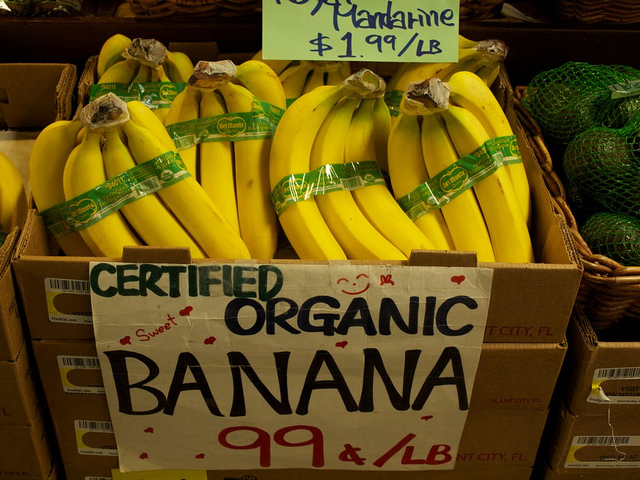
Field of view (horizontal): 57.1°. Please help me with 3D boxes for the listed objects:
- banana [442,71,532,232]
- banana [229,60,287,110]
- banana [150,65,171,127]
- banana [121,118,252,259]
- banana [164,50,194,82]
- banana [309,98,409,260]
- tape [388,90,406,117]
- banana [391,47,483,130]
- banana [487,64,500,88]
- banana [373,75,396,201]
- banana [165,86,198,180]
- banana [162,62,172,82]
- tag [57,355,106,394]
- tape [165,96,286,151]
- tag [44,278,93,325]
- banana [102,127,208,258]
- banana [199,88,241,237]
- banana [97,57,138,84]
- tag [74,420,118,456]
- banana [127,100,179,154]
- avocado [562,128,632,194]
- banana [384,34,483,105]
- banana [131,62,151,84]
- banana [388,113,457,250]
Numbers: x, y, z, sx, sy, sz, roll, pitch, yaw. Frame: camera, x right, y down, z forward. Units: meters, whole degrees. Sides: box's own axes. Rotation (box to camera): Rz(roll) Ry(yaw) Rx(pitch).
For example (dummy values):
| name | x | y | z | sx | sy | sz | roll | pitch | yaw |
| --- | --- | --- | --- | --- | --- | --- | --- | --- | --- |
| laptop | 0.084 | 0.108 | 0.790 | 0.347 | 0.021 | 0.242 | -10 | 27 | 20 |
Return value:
| name | x | y | z | sx | sy | sz | roll | pitch | yaw |
| --- | --- | --- | --- | --- | --- | --- | --- | --- | --- |
| banana | 0.404 | -0.210 | 1.473 | 0.114 | 0.424 | 0.138 | -26 | 1 | 16 |
| banana | -0.164 | -0.403 | 1.547 | 0.105 | 0.169 | 0.044 | -4 | -5 | -9 |
| banana | -0.437 | -0.403 | 1.642 | 0.048 | 0.194 | 0.068 | -3 | 2 | 11 |
| banana | -0.313 | -0.115 | 1.407 | 0.083 | 0.343 | 0.111 | -34 | 7 | 8 |
| banana | -0.398 | -0.500 | 1.693 | 0.078 | 0.085 | 0.084 | -3 | 23 | -11 |
| banana | 0.087 | -0.140 | 1.438 | 0.141 | 0.407 | 0.083 | -31 | -13 | 25 |
| tape | 0.214 | -0.377 | 1.654 | 0.016 | 0.066 | 0.065 | 12 | -5 | -32 |
| banana | 0.429 | -0.455 | 1.875 | 0.115 | 0.166 | 0.478 | -24 | 7 | 6 |
| banana | 0.481 | -0.460 | 1.657 | 0.016 | 0.061 | 0.021 | 9 | 23 | -18 |
| banana | 0.160 | -0.262 | 1.526 | 0.062 | 0.308 | 0.102 | -9 | 19 | -10 |
| banana | -0.334 | -0.258 | 1.518 | 0.070 | 0.267 | 0.086 | -2 | 13 | -4 |
| banana | -0.435 | -0.488 | 1.706 | 0.010 | 0.047 | 0.015 | -30 | 33 | -34 |
| tag | -0.548 | 0.308 | 1.333 | 0.098 | 0.095 | 0.023 | 1 | 11 | 2 |
| tape | -0.243 | -0.290 | 1.524 | 0.180 | 0.058 | 0.180 | -29 | 15 | -11 |
| tag | -0.539 | 0.127 | 1.283 | 0.106 | 0.109 | 0.005 | 3 | 30 | 2 |
| banana | -0.386 | -0.101 | 1.368 | 0.069 | 0.312 | 0.103 | -34 | 0 | 42 |
| banana | -0.246 | -0.183 | 1.530 | 0.081 | 0.410 | 0.109 | -8 | 0 | 3 |
| banana | -0.549 | -0.472 | 1.638 | 0.111 | 0.073 | 0.056 | 6 | 23 | 9 |
| tag | -0.528 | 0.470 | 1.418 | 0.105 | 0.076 | 0.004 | 3 | 26 | 6 |
| banana | -0.408 | -0.275 | 1.458 | 0.056 | 0.179 | 0.057 | -37 | 14 | 9 |
| avocado | 0.701 | -0.201 | 1.511 | 0.155 | 0.154 | 0.091 | 12 | 25 | 22 |
| banana | 0.296 | -0.439 | 1.518 | 0.275 | 0.095 | 0.072 | -43 | -24 | 5 |
| banana | -0.490 | -0.468 | 1.647 | 0.016 | 0.051 | 0.033 | 17 | 16 | -43 |
| banana | 0.223 | -0.168 | 1.456 | 0.110 | 0.408 | 0.134 | -12 | 7 | -3 |
